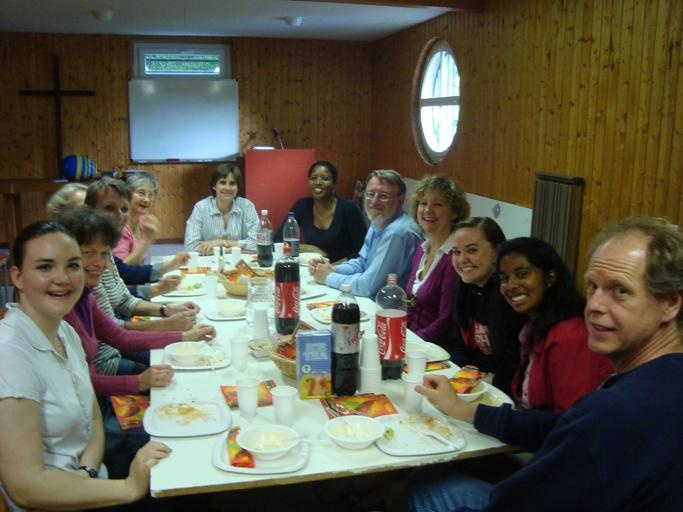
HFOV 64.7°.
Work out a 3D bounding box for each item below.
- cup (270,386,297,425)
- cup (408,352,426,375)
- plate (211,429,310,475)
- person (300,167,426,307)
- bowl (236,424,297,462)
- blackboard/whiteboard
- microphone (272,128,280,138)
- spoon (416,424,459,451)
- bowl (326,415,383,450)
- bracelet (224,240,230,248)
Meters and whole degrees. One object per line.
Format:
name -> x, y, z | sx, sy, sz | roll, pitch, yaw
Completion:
cup -> -0.187, 0.493, 1.841 | 0.112, 0.111, 0.111 | 3, 7, 0
cup -> 0.290, 0.414, 2.063 | 0.068, 0.061, 0.080 | 0, -5, 1
plate -> -0.240, 0.596, 1.659 | 0.292, 0.044, 0.201 | 0, 10, 4
person -> 0.180, -0.148, 3.708 | 0.931, 0.883, 0.626 | 1, 5, -8
bowl -> -0.214, 0.565, 1.693 | 0.209, 0.037, 0.208 | 9, 0, 0
blackboard/whiteboard -> -2.186, -1.894, 7.836 | 1.932, 1.345, 1.057 | -1, 2, -3
microphone -> -0.936, -1.761, 7.780 | 0.092, 0.059, 0.151 | -3, -14, 1
spoon -> 0.304, 0.576, 1.793 | 0.039, 0.026, 0.199 | -33, 33, -25
bowl -> 0.042, 0.581, 1.712 | 0.163, 0.038, 0.165 | 1, -7, 0
bracelet -> -0.900, -0.097, 4.265 | 0.061, 0.047, 0.059 | -11, 39, 8
